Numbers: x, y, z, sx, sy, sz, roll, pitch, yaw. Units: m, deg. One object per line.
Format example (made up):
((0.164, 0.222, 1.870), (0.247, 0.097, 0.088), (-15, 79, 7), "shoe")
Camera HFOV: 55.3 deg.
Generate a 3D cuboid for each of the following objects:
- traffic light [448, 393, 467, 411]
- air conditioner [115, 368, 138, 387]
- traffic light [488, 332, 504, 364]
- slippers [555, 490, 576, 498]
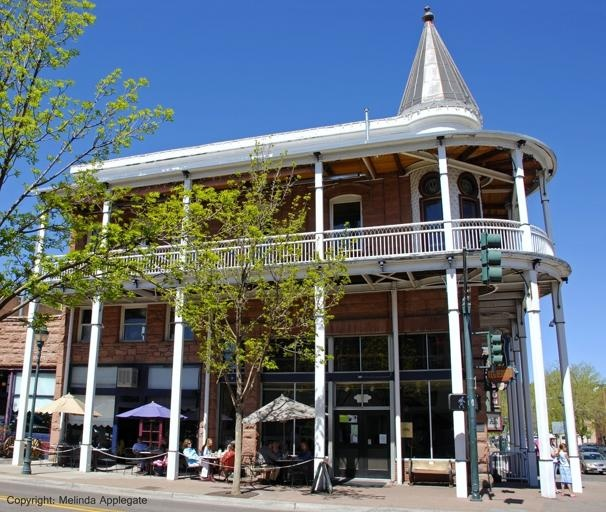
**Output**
((4.072, 3.845, 15.222), (0.487, 0.388, 0.302), (0, -20, 0), "traffic light")
((-7.250, 5.059, 24.056), (0.905, 0.713, 0.472), (-2, -10, 11), "air conditioner")
((4.813, 2.336, 14.496), (0.366, 0.832, 0.561), (-6, -21, 14), "traffic light")
((7.980, 7.223, 17.565), (0.515, 0.117, 0.992), (-7, -19, 20), "slippers")
